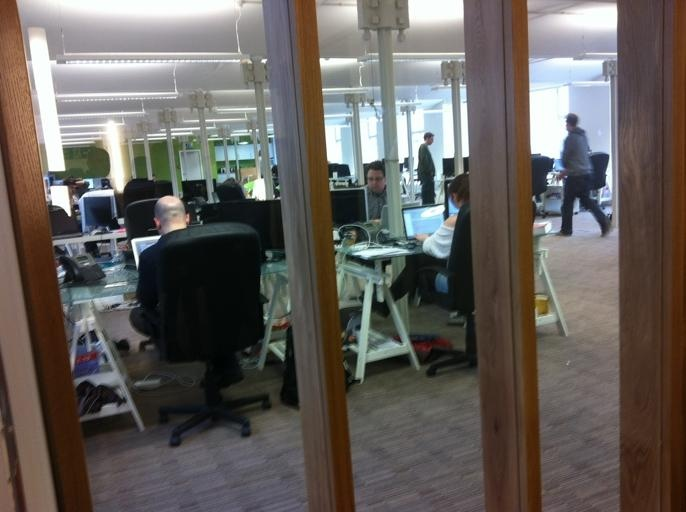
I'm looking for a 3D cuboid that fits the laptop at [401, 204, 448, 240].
[{"bbox_3d":[0.640,-0.295,4.370,0.329,0.218,0.238,-5,6,-7],"label":"laptop"}]

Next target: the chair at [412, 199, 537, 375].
[{"bbox_3d":[0.641,0.221,3.470,0.339,1.087,0.691,-6,10,8],"label":"chair"}]

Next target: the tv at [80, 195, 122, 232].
[{"bbox_3d":[-2.245,-0.411,5.122,0.328,0.336,0.323,-7,11,-12],"label":"tv"}]

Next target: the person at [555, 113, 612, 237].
[{"bbox_3d":[2.857,-0.910,6.663,0.610,1.563,1.439,-2,11,26],"label":"person"}]

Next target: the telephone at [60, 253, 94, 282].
[{"bbox_3d":[-1.610,0.065,3.305,0.166,0.083,0.223,-4,10,-22],"label":"telephone"}]

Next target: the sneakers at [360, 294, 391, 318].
[{"bbox_3d":[0.245,0.352,3.838,0.228,0.129,0.131,30,-16,-25],"label":"sneakers"}]
